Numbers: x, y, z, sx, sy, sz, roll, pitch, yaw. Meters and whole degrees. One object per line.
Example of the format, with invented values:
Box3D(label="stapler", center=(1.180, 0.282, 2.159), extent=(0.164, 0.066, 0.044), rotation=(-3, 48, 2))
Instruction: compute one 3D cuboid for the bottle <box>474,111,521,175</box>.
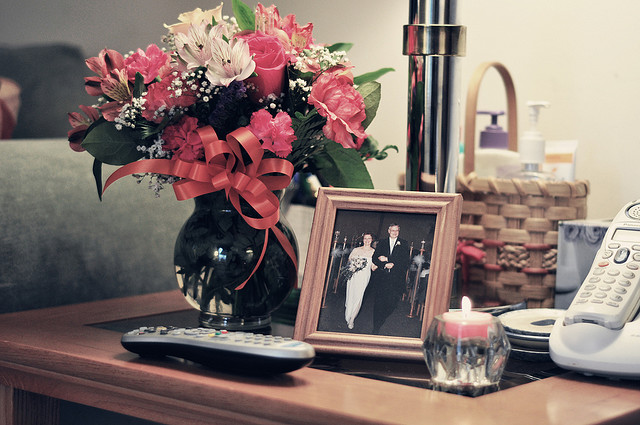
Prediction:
Box3D(label="bottle", center=(0.328, -0.126, 1.148), extent=(0.081, 0.114, 0.188), rotation=(6, 10, 16))

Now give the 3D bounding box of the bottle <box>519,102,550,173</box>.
Box3D(label="bottle", center=(0.369, -0.125, 1.051), extent=(0.058, 0.116, 0.034), rotation=(-4, 12, -31))

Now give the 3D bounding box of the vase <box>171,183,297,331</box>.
Box3D(label="vase", center=(-0.129, 0.053, 0.998), extent=(0.203, 0.253, 0.200), rotation=(2, 3, -1))

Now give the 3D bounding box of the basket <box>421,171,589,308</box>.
Box3D(label="basket", center=(0.342, 0.041, 1.143), extent=(0.263, 0.205, 0.227), rotation=(1, 1, 19))

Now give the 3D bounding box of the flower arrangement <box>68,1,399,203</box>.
Box3D(label="flower arrangement", center=(-0.140, -0.169, 0.947), extent=(0.465, 0.294, 0.211), rotation=(5, 10, 12))
